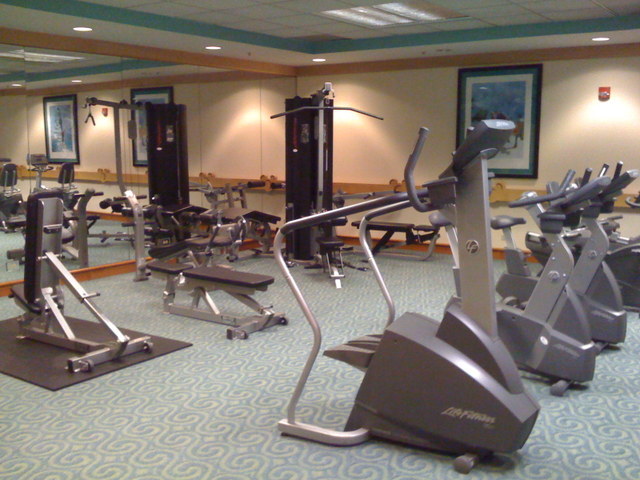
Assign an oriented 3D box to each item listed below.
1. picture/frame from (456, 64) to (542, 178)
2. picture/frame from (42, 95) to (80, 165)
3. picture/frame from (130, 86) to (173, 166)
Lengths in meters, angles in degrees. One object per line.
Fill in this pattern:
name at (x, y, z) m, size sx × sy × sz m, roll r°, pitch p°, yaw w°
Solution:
picture/frame at (2.904, -1.907, 7.693) m, size 1.314 × 1.780 × 0.408 m, roll 4°, pitch 14°, yaw 17°
picture/frame at (-3.436, -1.484, 6.308) m, size 0.189 × 0.899 × 0.560 m, roll 5°, pitch 14°, yaw 21°
picture/frame at (-2.572, -1.719, 7.155) m, size 0.082 × 1.194 × 0.794 m, roll 7°, pitch 15°, yaw 28°
